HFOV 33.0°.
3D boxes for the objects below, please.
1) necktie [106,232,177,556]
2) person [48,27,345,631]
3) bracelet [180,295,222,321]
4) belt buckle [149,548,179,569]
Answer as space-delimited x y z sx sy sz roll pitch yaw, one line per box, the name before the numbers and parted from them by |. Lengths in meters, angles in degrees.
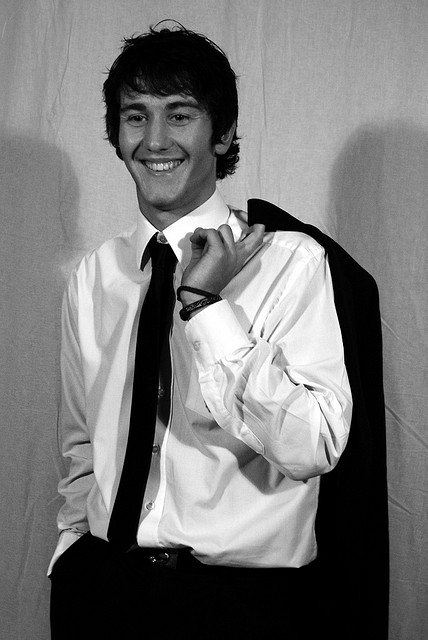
necktie | -0.101 0.084 1.171 0.075 0.570 0.033 -3 -31 19
person | -0.059 0.021 1.189 0.419 0.991 0.591 -1 11 -16
bracelet | -0.021 -0.020 1.056 0.046 0.016 0.038 -32 -29 12
belt buckle | -0.082 0.359 1.094 0.049 0.031 0.012 1 -3 25
